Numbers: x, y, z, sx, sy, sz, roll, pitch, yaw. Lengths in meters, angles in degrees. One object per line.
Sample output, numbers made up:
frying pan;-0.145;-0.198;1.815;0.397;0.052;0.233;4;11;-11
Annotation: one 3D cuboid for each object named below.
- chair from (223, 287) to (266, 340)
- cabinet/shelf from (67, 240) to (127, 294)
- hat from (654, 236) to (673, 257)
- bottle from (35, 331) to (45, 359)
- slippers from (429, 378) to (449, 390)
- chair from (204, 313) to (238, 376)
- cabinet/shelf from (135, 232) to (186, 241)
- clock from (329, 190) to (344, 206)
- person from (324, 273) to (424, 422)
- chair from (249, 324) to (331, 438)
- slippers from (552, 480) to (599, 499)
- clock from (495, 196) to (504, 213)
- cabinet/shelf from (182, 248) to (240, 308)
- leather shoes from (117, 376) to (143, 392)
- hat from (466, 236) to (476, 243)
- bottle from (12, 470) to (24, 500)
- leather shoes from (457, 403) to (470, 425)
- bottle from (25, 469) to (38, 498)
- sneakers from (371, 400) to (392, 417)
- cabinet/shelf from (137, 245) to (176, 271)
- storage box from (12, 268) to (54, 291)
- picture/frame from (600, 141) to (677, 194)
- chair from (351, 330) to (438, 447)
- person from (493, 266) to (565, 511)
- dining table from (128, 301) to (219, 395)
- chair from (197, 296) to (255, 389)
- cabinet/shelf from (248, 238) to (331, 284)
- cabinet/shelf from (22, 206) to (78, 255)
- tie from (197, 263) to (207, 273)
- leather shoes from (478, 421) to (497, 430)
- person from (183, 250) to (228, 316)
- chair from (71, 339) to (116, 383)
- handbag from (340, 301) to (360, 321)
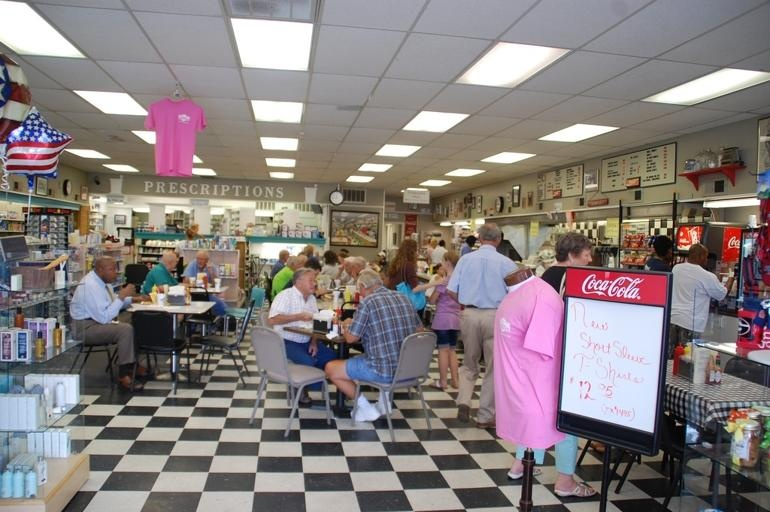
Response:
chair;-2.309;0.928;9.157;0.633;0.894;0.579;7;-2;-35
cabinet/shelf;-6.777;0.128;13.180;0.839;1.280;1.450;28;16;39
hat;3.707;-0.132;7.500;0.238;0.269;0.292;9;-36;34
bottle;-3.222;0.828;5.278;0.074;0.245;0.100;-2;12;-20
slippers;0.767;1.861;8.232;0.124;0.067;0.227;0;2;-23
chair;-2.314;1.196;8.001;0.567;0.780;0.537;-3;13;-17
cabinet/shelf;-6.328;-0.531;15.977;1.296;0.321;0.916;0;11;-11
clock;-1.486;-1.803;17.604;0.328;0.492;0.499;6;12;19
person;-0.077;1.133;6.988;1.309;1.773;1.060;0;-3;-9
chair;-1.145;1.391;6.786;0.922;1.260;0.980;0;12;-14
slippers;1.909;2.340;5.664;0.343;0.096;0.183;-2;6;-5
clock;3.108;-1.397;15.292;0.067;0.443;0.487;-1;1;-19
cabinet/shelf;-3.586;0.449;11.646;1.503;1.368;0.518;0;-2;-10
leather shoes;-3.460;1.707;7.610;0.354;0.133;0.175;3;1;10
hat;1.541;-0.285;10.148;0.140;0.064;0.135;-7;31;-22
bottle;-3.247;2.013;5.007;0.101;0.223;0.069;0;12;-9
leather shoes;0.994;1.976;7.084;0.116;0.241;0.173;-9;-5;19
bottle;-3.152;2.016;5.031;0.089;0.216;0.088;2;11;0
sneakers;-0.040;1.863;6.864;0.197;0.213;0.309;-9;-16;-8
cabinet/shelf;-5.434;0.042;13.378;0.676;0.577;0.202;-2;-11;0
storage box;-3.335;0.211;5.412;0.237;0.138;0.232;1;0;24
picture/frame;4.617;-1.567;10.373;1.744;0.712;0.070;-11;17;-20
chair;0.108;1.467;6.770;0.817;1.168;0.712;3;0;44
person;1.332;0.941;5.232;0.737;1.614;0.410;9;13;29
dining table;-2.913;1.218;8.081;1.203;1.339;1.168;1;1;5
chair;-2.279;1.212;8.129;0.767;1.077;0.640;2;-3;-1
cabinet/shelf;-2.953;0.297;17.192;2.361;1.497;1.249;1;-19;-23
cabinet/shelf;-7.448;-0.672;12.694;0.706;0.868;0.468;-1;19;-31
tie;-3.582;0.221;11.086;0.145;0.184;0.141;3;32;2
leather shoes;1.250;2.047;6.870;0.206;0.088;0.085;-4;0;-8
person;-3.475;0.582;10.955;0.871;1.272;0.790;6;15;4
chair;-4.161;1.402;7.939;0.440;0.499;0.580;4;3;-40
handbag;-0.502;0.789;8.086;0.282;0.377;0.246;3;-2;-4
